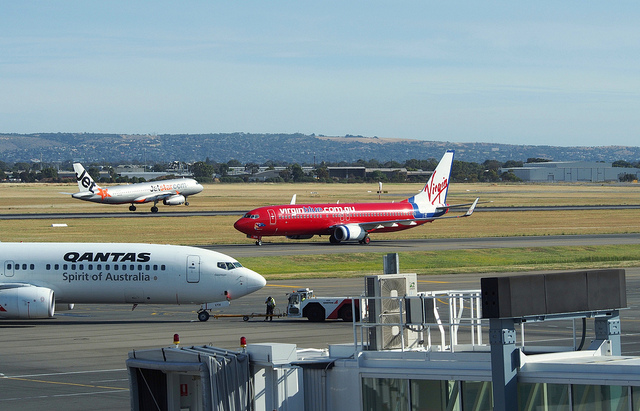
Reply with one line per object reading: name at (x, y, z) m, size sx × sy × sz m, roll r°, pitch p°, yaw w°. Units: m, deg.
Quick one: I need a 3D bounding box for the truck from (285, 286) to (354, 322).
truck at (0.450, 8.016, 102.580) m, size 6.225 × 2.161 × 3.131 m, roll 1°, pitch 0°, yaw 5°
